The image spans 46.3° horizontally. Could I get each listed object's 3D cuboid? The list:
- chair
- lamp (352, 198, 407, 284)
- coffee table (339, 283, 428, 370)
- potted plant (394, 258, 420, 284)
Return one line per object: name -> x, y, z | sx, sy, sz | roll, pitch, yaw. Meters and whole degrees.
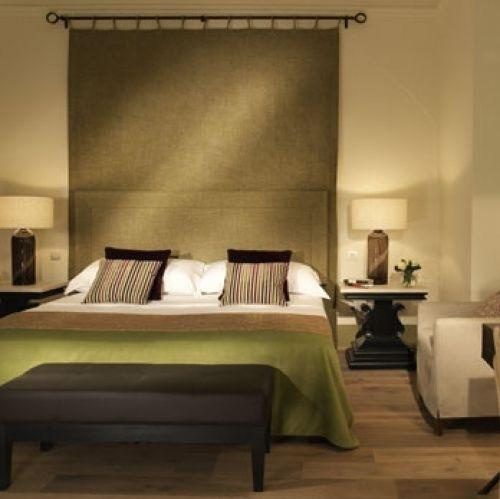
chair -> 1.210, 0.668, 3.701 | 0.608, 0.659, 0.831 | 0, 1, 8
lamp -> 1.074, -0.087, 4.937 | 0.439, 0.711, 0.409 | 1, 9, 8
coffee table -> 1.044, 0.580, 4.782 | 0.709, 0.662, 0.653 | 0, -2, 2
potted plant -> 1.318, 0.174, 4.825 | 0.219, 0.213, 0.217 | 3, -6, -13
